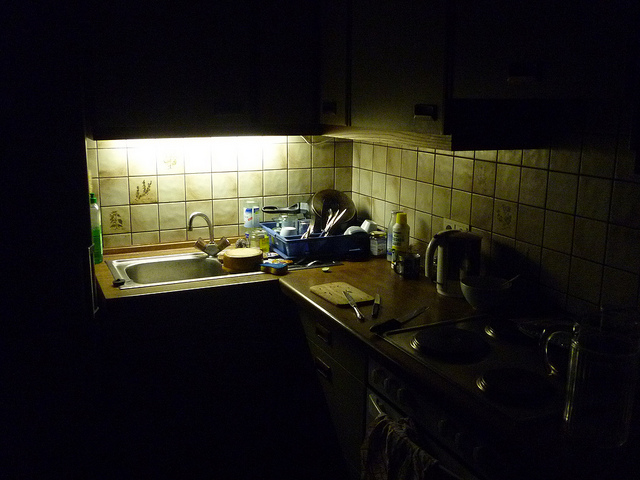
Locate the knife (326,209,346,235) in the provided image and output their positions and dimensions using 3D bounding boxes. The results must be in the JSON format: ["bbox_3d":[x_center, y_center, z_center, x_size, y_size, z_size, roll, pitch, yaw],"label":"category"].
[{"bbox_3d":[0.075,-0.088,2.466,0.010,0.136,0.015,39,-16,-22],"label":"knife"}]

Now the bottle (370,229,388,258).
[{"bbox_3d":[0.288,0.017,2.449,0.105,0.155,0.108,1,4,0],"label":"bottle"}]

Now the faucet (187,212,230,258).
[{"bbox_3d":[-0.544,-0.015,2.469,0.156,0.246,0.145,-14,8,-39],"label":"faucet"}]

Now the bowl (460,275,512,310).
[{"bbox_3d":[0.581,0.198,1.764,0.170,0.104,0.176,3,9,0],"label":"bowl"}]

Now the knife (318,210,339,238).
[{"bbox_3d":[0.050,-0.083,2.478,0.046,0.098,0.189,5,15,25],"label":"knife"}]

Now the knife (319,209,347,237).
[{"bbox_3d":[0.067,-0.086,2.478,0.060,0.103,0.196,7,16,29],"label":"knife"}]

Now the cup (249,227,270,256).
[{"bbox_3d":[-0.305,0.002,2.553,0.098,0.107,0.107,-1,14,0],"label":"cup"}]

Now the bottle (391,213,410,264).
[{"bbox_3d":[0.358,0.000,2.218,0.078,0.236,0.191,1,14,8],"label":"bottle"}]

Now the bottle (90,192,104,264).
[{"bbox_3d":[-1.019,-0.052,2.295,0.048,0.321,0.275,-6,15,-21],"label":"bottle"}]

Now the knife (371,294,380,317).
[{"bbox_3d":[0.200,0.238,1.798,0.015,0.011,0.116,-10,22,18],"label":"knife"}]

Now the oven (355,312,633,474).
[{"bbox_3d":[0.437,0.389,1.259,0.298,0.465,0.463,0,12,-21],"label":"oven"}]

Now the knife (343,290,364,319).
[{"bbox_3d":[0.125,0.232,1.791,0.020,0.017,0.158,-8,23,-8],"label":"knife"}]

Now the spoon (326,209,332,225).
[{"bbox_3d":[0.047,-0.122,2.531,0.015,0.013,0.078,3,54,19],"label":"spoon"}]
